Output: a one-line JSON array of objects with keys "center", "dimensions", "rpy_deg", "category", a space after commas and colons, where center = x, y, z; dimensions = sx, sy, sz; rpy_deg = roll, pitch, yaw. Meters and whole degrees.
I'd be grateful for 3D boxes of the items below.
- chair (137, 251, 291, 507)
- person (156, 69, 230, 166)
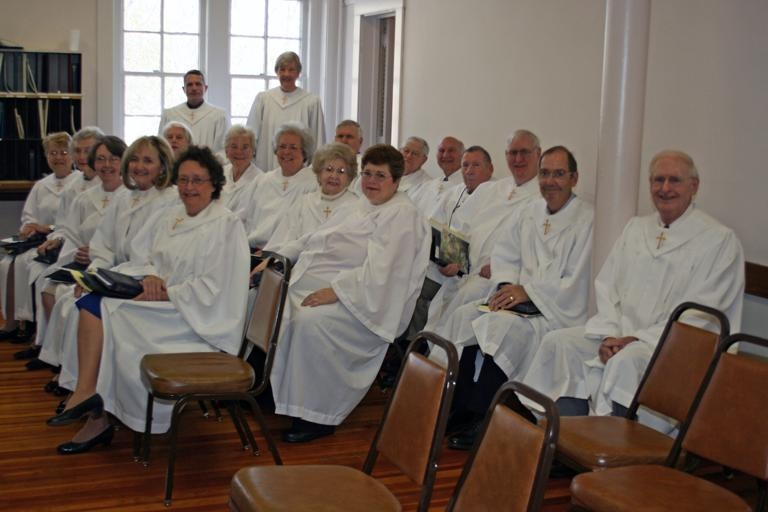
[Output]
[{"center": [-1.039, 0.628, 4.091], "dimensions": [1.119, 2.042, 1.054], "rpy_deg": [4, 5, -26], "category": "chair"}, {"center": [-2.186, -1.519, 6.840], "dimensions": [0.792, 1.281, 0.630], "rpy_deg": [-1, -6, -8], "category": "person"}]
